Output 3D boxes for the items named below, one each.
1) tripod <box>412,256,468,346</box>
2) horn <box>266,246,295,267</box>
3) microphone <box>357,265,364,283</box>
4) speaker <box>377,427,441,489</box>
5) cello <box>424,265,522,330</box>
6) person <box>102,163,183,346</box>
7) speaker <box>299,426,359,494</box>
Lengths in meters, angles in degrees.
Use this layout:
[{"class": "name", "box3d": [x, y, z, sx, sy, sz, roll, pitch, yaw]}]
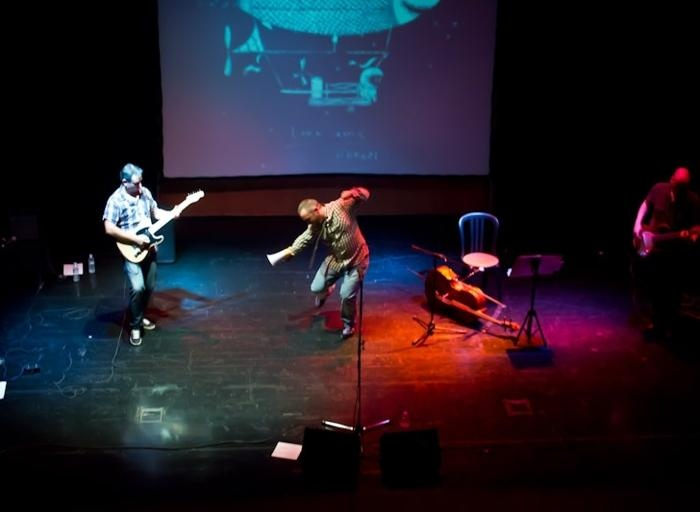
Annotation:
[{"class": "tripod", "box3d": [1.103, 0.607, 6.416, 0.462, 0.748, 0.576, -26, 46, -26]}, {"class": "horn", "box3d": [-0.931, 0.025, 6.863, 0.264, 0.161, 0.173, -31, -18, 1]}, {"class": "microphone", "box3d": [0.110, 0.193, 5.432, 0.030, 0.134, 0.091, 4, 8, -11]}, {"class": "speaker", "box3d": [0.495, 1.649, 4.374, 0.659, 0.489, 0.375, -2, -4, 0]}, {"class": "cello", "box3d": [1.442, 0.582, 6.305, 1.240, 0.610, 0.456, 34, 36, 32]}, {"class": "person", "box3d": [-2.416, -0.045, 5.900, 0.614, 1.992, 0.735, -3, 16, -15]}, {"class": "speaker", "box3d": [-0.171, 1.681, 4.244, 0.436, 0.469, 0.353, 1, 0, 6]}]
